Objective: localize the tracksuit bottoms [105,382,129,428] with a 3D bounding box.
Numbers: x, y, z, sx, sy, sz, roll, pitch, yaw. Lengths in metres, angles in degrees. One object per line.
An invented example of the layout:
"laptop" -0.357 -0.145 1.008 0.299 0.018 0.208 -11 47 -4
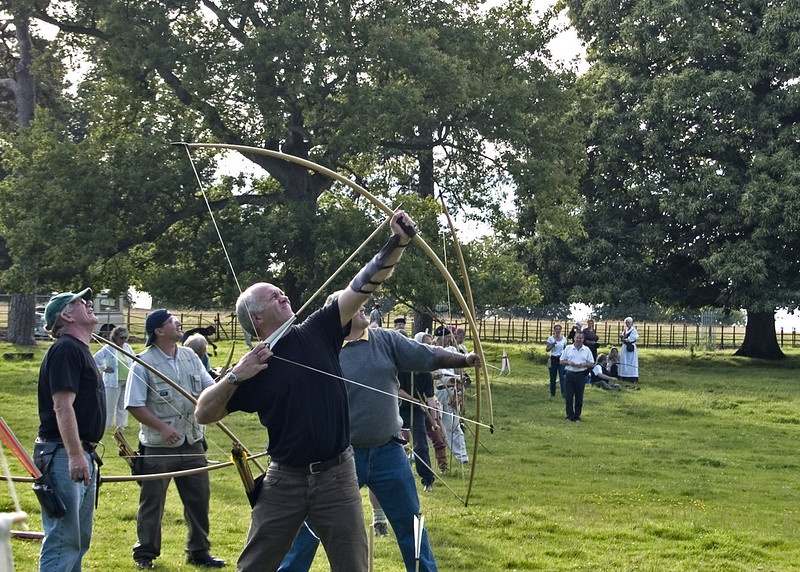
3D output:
"tracksuit bottoms" -8.001 3.329 43.515 0.706 1.484 0.500 12 -17 -24

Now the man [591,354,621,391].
"man" 6.833 2.923 51.822 1.297 1.517 1.211 2 2 8

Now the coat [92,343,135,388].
"coat" -7.610 2.124 40.802 0.511 1.103 1.337 1 1 34
